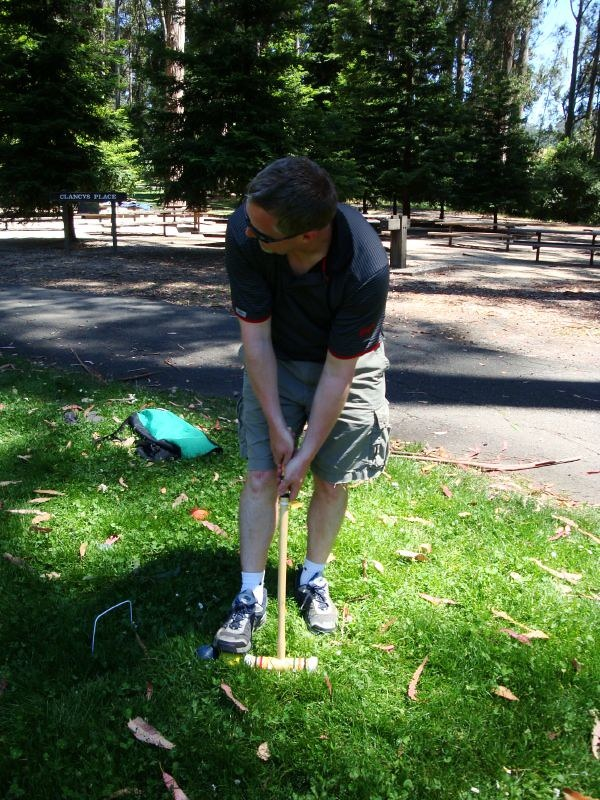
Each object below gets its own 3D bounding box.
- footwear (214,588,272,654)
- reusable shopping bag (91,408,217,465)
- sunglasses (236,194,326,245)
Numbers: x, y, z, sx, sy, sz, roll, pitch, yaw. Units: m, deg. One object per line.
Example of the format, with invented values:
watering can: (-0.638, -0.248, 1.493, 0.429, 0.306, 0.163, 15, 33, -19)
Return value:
footwear: (-0.206, 0.834, 2.550, 0.104, 0.117, 0.277, 15, 9, 9)
reusable shopping bag: (-0.878, 0.219, 4.462, 0.464, 0.238, 0.625, -4, 11, -37)
sunglasses: (-0.051, -0.531, 2.039, 0.179, 0.159, 0.046, -16, -27, -9)
